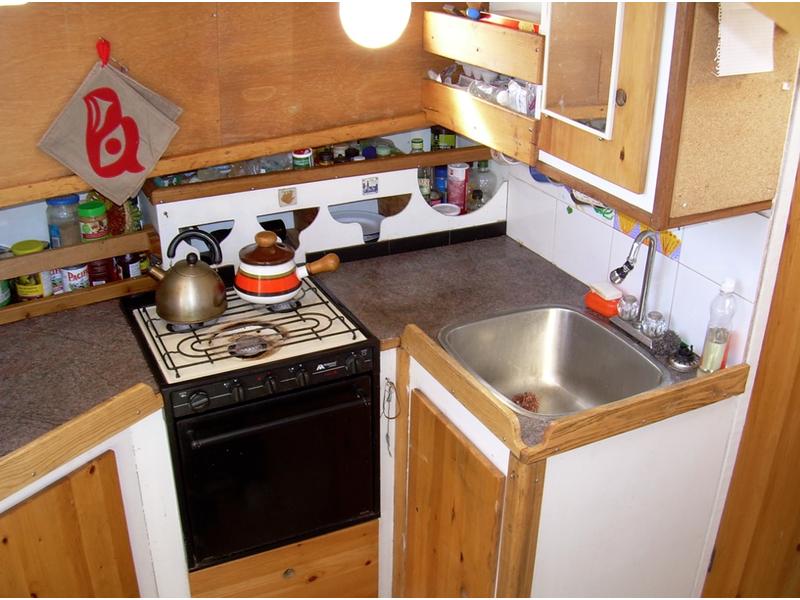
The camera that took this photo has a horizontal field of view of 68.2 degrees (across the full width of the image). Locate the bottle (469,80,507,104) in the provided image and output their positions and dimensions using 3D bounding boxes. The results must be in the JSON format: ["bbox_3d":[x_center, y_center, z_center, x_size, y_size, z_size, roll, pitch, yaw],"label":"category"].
[{"bbox_3d":[0.313,-0.760,2.137,0.059,0.058,0.211,-17,40,-36],"label":"bottle"}]

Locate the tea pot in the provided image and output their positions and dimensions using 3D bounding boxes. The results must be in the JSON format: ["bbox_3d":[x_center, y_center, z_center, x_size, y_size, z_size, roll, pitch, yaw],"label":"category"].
[{"bbox_3d":[-0.735,-0.096,2.124,0.335,0.339,0.231,8,23,-4],"label":"tea pot"}]

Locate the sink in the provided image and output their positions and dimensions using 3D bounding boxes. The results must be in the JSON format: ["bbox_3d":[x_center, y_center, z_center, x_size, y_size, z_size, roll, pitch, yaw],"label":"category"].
[{"bbox_3d":[0.598,0.172,2.043,0.442,0.203,0.523,-15,30,-25],"label":"sink"}]

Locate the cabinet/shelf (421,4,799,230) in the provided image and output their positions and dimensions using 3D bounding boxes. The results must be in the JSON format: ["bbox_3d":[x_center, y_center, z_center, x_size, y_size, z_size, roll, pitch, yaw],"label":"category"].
[{"bbox_3d":[0.624,-0.566,1.751,0.273,0.644,0.771,-9,35,-25],"label":"cabinet/shelf"}]

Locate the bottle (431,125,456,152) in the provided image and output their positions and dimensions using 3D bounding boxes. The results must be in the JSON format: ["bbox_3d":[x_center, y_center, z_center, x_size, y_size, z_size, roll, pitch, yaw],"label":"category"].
[{"bbox_3d":[0.171,-0.700,2.562,0.104,0.116,0.102,-4,38,-10],"label":"bottle"}]

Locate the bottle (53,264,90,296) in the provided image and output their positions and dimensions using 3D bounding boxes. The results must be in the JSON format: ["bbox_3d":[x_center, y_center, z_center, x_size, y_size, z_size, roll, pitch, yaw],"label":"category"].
[{"bbox_3d":[-1.220,-0.080,2.190,0.110,0.124,0.110,-20,53,-39],"label":"bottle"}]

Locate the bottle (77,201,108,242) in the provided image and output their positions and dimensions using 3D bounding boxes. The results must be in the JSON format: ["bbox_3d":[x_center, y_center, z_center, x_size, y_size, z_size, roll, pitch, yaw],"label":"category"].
[{"bbox_3d":[-1.115,-0.292,2.145,0.104,0.133,0.075,-14,21,-25],"label":"bottle"}]

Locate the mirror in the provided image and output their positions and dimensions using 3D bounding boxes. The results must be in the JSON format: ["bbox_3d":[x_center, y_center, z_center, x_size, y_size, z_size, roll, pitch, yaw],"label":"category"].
[{"bbox_3d":[0.521,-0.674,1.673,0.013,0.347,0.295,-17,37,-23],"label":"mirror"}]

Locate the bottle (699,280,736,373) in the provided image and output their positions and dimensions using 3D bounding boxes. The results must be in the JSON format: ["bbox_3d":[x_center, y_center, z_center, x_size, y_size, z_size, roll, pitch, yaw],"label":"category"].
[{"bbox_3d":[1.002,0.081,1.856,0.070,0.282,0.114,12,25,39],"label":"bottle"}]

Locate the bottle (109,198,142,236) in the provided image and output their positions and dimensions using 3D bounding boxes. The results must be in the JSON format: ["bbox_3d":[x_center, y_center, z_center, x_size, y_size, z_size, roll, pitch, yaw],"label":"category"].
[{"bbox_3d":[-1.025,-0.316,2.213,0.123,0.124,0.037,-19,16,-41],"label":"bottle"}]

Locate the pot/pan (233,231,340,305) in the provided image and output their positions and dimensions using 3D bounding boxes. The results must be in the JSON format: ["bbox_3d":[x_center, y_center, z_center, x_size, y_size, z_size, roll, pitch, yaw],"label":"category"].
[{"bbox_3d":[-0.405,-0.130,2.168,0.366,0.231,0.235,-3,28,-11],"label":"pot/pan"}]

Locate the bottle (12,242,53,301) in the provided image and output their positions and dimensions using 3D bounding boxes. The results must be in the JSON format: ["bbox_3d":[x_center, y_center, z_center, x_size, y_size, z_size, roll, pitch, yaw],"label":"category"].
[{"bbox_3d":[-1.321,-0.111,2.125,0.141,0.208,0.167,-16,22,-30],"label":"bottle"}]

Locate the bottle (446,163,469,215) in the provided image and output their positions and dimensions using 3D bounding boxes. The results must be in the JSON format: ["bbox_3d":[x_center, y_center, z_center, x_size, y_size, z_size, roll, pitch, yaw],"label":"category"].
[{"bbox_3d":[0.251,-0.502,2.614,0.098,0.249,0.105,-1,35,1],"label":"bottle"}]
